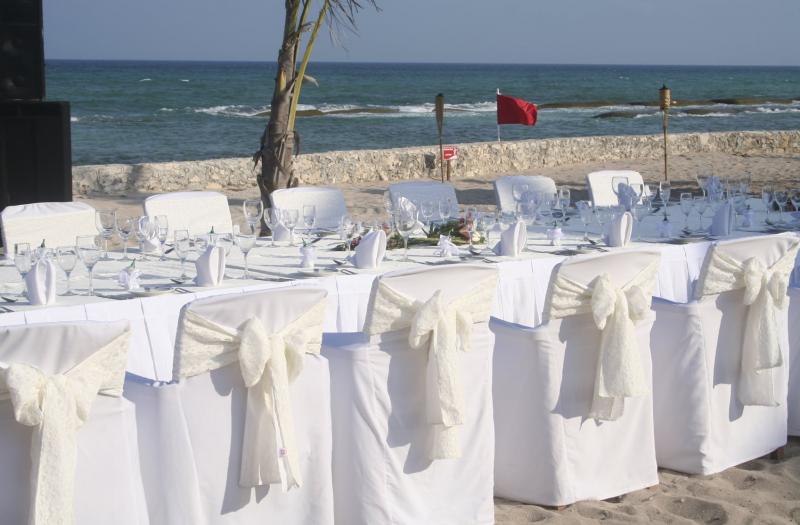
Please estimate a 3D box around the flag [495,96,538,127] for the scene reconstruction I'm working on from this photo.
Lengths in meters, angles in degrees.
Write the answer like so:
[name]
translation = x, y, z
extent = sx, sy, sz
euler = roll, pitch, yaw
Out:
[flag]
translation = 1.656, -2.182, 15.542
extent = 0.522, 0.422, 0.901
euler = -3, 6, 3
